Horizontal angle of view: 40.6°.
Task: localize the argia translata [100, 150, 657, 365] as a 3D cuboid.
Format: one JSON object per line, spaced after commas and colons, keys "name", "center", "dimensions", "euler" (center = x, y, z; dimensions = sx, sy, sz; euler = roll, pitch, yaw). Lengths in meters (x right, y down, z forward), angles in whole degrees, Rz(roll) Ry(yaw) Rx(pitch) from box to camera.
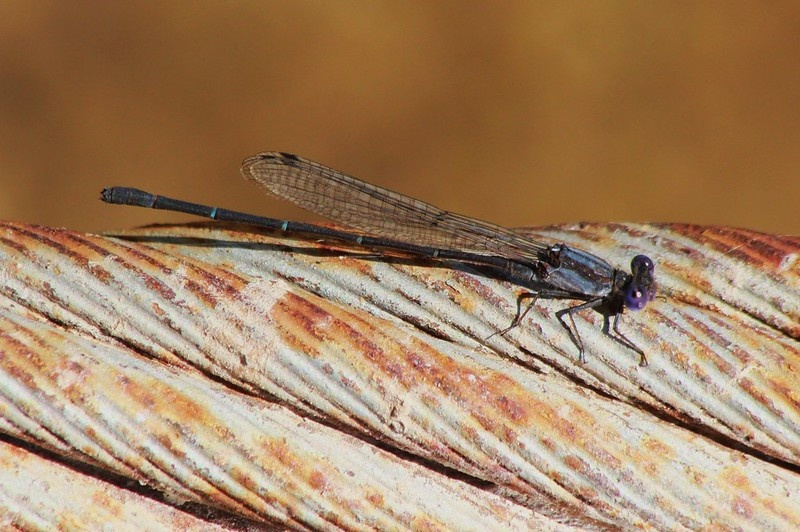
{"name": "argia translata", "center": [-0.099, 0.046, 6.255], "dimensions": [3.464, 1.088, 1.116], "euler": [10, 0, -4]}
